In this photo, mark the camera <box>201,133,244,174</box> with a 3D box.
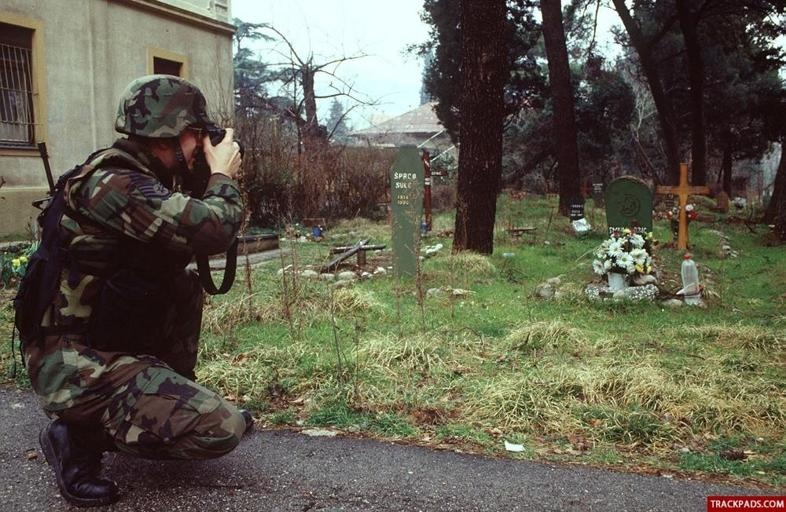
[{"bbox_3d":[-1.549,-0.912,6.204,0.295,0.461,0.270,6,-19,-22],"label":"camera"}]

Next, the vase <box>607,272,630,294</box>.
[{"bbox_3d":[3.227,0.378,9.953,0.256,0.227,0.292,1,-2,-5],"label":"vase"}]

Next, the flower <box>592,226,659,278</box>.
[{"bbox_3d":[3.539,-0.075,10.273,0.956,0.631,0.901,-13,18,-14],"label":"flower"}]

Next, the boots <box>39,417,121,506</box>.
[{"bbox_3d":[-2.646,1.731,5.861,0.736,0.476,0.286,43,10,5],"label":"boots"}]
